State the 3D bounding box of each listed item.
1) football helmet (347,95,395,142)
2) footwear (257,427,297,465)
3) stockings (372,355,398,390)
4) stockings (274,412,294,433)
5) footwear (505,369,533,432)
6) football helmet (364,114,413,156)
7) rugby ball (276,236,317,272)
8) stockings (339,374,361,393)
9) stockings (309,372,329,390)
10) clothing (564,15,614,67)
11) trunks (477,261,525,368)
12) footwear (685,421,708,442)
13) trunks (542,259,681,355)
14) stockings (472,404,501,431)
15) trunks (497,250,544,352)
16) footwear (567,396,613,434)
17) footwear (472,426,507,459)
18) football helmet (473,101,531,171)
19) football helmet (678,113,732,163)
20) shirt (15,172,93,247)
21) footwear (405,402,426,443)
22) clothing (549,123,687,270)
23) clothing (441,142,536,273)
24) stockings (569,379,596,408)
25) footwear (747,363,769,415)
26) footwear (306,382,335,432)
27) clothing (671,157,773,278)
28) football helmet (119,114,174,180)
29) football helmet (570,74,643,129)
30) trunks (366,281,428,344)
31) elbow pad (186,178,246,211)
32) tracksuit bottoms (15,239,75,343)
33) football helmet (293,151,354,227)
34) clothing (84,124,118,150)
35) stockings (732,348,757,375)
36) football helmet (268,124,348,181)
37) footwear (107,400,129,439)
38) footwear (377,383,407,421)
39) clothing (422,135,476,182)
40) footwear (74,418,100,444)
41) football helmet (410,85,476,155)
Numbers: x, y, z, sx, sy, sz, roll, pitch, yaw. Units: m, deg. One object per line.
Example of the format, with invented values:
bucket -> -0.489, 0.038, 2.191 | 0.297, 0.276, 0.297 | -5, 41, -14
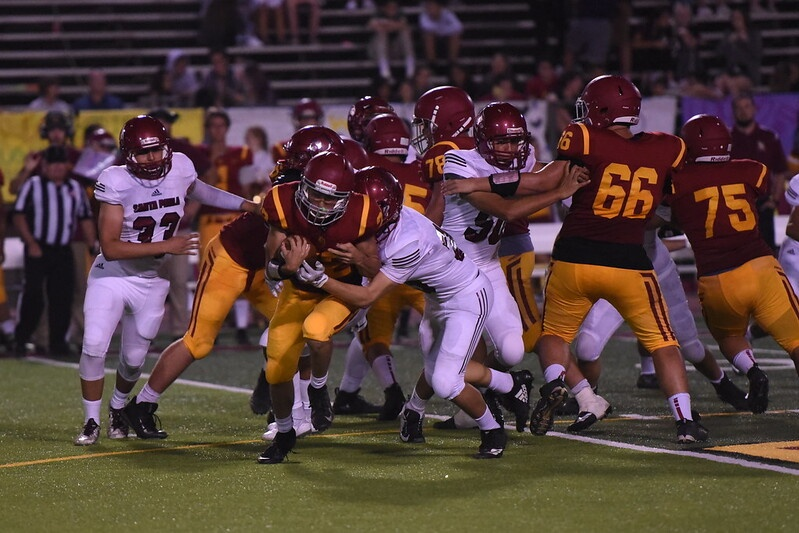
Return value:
football helmet -> -0.237, -1.118, 8.565 | 0.291, 0.358, 0.353 | 0, 10, 9
footwear -> -0.822, 1.160, 7.178 | 0.126, 0.145, 0.349 | 6, 21, 38
stockings -> -0.106, 0.765, 8.283 | 0.078, 0.248, 0.162 | -12, -27, -1
stockings -> -0.728, 0.996, 7.162 | 0.110, 0.084, 0.109 | -2, 3, 39
footwear -> 0.843, 0.894, 7.656 | 0.151, 0.433, 0.221 | 1, 12, 20
football helmet -> -0.082, -0.937, 8.221 | 0.253, 0.294, 0.335 | -3, 28, -10
rugby ball -> -0.657, -0.079, 6.915 | 0.210, 0.207, 0.088 | 4, -1, 11
stockings -> -0.363, 0.885, 8.583 | 0.143, 0.135, 0.132 | 24, 3, 8
stockings -> -0.563, 0.818, 7.983 | 0.099, 0.085, 0.126 | -3, -3, 31
clothing -> 2.804, -3.308, 16.621 | 0.653, 0.623, 0.375 | 4, -1, 7
trunks -> 0.729, 0.341, 7.568 | 0.338, 0.589, 0.176 | -14, -4, -37
footwear -> 1.951, 1.082, 7.352 | 0.245, 0.117, 0.084 | 5, -1, -37
trunks -> 1.440, 0.254, 7.640 | 1.002, 0.699, 0.405 | 3, 20, 40
stockings -> 0.565, 0.992, 7.306 | 0.184, 0.111, 0.184 | 42, -6, -10
trunks -> 0.976, 0.220, 8.069 | 0.213, 0.597, 0.430 | -8, 5, -29
footwear -> 1.275, 1.044, 7.667 | 0.378, 0.155, 0.144 | -28, 16, -20
footwear -> 0.592, 1.139, 7.273 | 0.171, 0.163, 0.393 | -1, -7, 9
football helmet -> 0.677, -0.856, 7.522 | 0.352, 0.385, 0.463 | -14, 48, -14
football helmet -> 2.182, -0.907, 7.944 | 0.340, 0.355, 0.439 | -8, 8, -37
shirt -> -3.376, -0.546, 11.049 | 0.796, 0.637, 0.291 | 0, 2, -25
footwear -> 0.100, 1.069, 7.609 | 0.164, 0.221, 0.085 | 4, -1, 0
clothing -> 1.392, -0.471, 7.619 | 1.010, 0.963, 0.555 | 6, 11, -25
clothing -> 0.579, -0.417, 7.571 | 0.712, 0.791, 0.418 | -15, 25, -27
stockings -> 1.251, 0.864, 7.681 | 0.103, 0.109, 0.142 | 30, 21, -40
footwear -> 2.459, 0.846, 7.761 | 0.128, 0.335, 0.167 | -8, 14, 0
footwear -> -0.556, 1.006, 7.999 | 0.131, 0.368, 0.159 | -6, -13, -4
clothing -> 2.233, -0.335, 7.979 | 0.847, 0.831, 0.483 | -11, 2, -5
football helmet -> -1.715, -0.849, 7.799 | 0.331, 0.358, 0.434 | -14, 41, -21
football helmet -> 1.381, -1.126, 7.587 | 0.420, 0.329, 0.306 | 20, 26, 40
trunks -> -0.042, 0.262, 8.329 | 0.452, 0.432, 0.182 | 28, 41, -16
elbow pad -> -1.294, -0.436, 8.037 | 0.344, 0.132, 0.253 | 26, 0, -38
tracksuit bottoms -> -3.510, 0.282, 11.110 | 0.569, 1.046, 0.352 | 4, -1, 7
football helmet -> -0.401, -0.469, 6.942 | 0.348, 0.360, 0.443 | 23, 37, -4
clothing -> -3.091, -1.329, 11.661 | 0.298, 0.276, 0.504 | 4, -1, -15
stockings -> 2.456, 0.684, 7.981 | 0.176, 0.153, 0.139 | -5, 2, -20
football helmet -> -0.624, -0.758, 7.600 | 0.461, 0.367, 0.326 | 3, 10, -2
footwear -> -1.956, 1.089, 7.828 | 0.107, 0.302, 0.136 | -2, -24, -37
footwear -> -0.049, 0.995, 8.296 | 0.198, 0.256, 0.193 | 4, -1, 5
clothing -> 0.342, -0.754, 7.806 | 0.355, 0.213, 0.270 | -19, 3, 11
footwear -> -2.125, 1.133, 7.725 | 0.185, 0.180, 0.141 | 5, -1, -35
football helmet -> 0.330, -1.039, 8.074 | 0.513, 0.466, 0.404 | 1, 13, 6
